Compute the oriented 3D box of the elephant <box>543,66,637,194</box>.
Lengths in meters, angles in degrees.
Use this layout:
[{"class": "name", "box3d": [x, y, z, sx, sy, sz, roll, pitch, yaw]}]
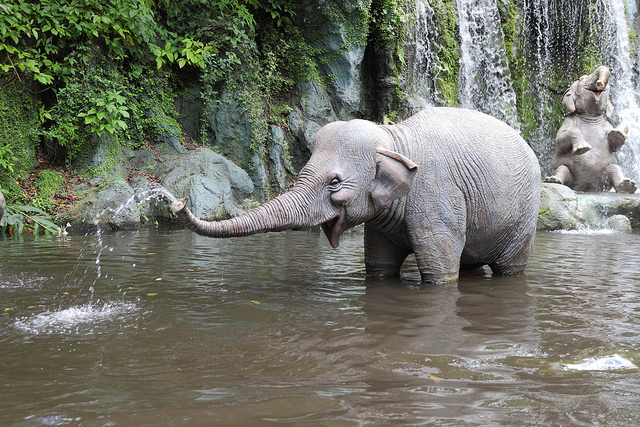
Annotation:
[{"class": "elephant", "box3d": [7.915, -2.449, 21.028, 2.168, 3.665, 1.363, 5, 11, 17]}]
